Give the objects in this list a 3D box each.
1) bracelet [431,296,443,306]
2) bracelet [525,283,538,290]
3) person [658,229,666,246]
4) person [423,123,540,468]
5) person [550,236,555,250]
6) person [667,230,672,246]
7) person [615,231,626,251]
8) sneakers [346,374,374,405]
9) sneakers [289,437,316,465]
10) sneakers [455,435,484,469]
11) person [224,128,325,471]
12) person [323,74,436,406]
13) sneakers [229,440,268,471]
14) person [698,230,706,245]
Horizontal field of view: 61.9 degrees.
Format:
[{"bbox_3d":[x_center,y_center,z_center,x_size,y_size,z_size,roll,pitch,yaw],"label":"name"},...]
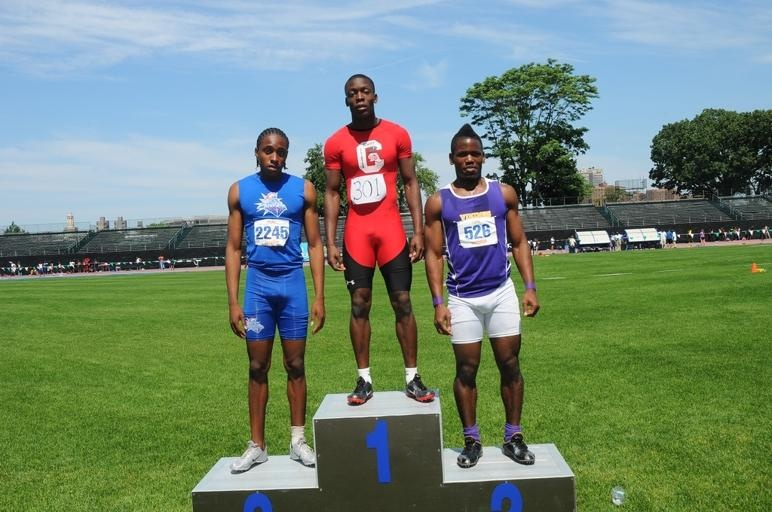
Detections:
[{"bbox_3d":[0.582,0.511,7.307,0.111,0.080,0.110,-3,4,0],"label":"bracelet"},{"bbox_3d":[1.665,0.349,7.372,0.094,0.068,0.092,-1,-5,0],"label":"bracelet"},{"bbox_3d":[20.469,-1.203,47.647,0.310,1.067,1.348,-2,3,17],"label":"person"},{"bbox_3d":[1.062,0.369,7.167,1.222,3.687,0.848,-3,3,3],"label":"person"},{"bbox_3d":[13.267,-0.976,51.258,0.379,0.940,1.546,-2,3,14],"label":"person"},{"bbox_3d":[22.061,-1.362,50.009,0.373,0.974,1.607,-2,3,24],"label":"person"},{"bbox_3d":[17.872,-1.042,49.107,0.633,1.104,1.797,-1,3,39],"label":"person"},{"bbox_3d":[-0.311,1.514,7.251,0.266,0.231,0.441,-2,3,11],"label":"sneakers"},{"bbox_3d":[-0.895,2.178,7.141,0.228,0.247,0.409,-4,3,-28],"label":"sneakers"},{"bbox_3d":[0.907,2.110,6.973,0.221,0.265,0.365,-2,3,23],"label":"sneakers"},{"bbox_3d":[-1.260,0.487,7.439,1.146,3.886,0.867,-3,3,-10],"label":"person"},{"bbox_3d":[-0.142,-0.256,7.662,1.201,3.784,1.099,-3,3,1],"label":"person"},{"bbox_3d":[-1.494,2.195,7.092,0.153,0.270,0.463,-1,3,39],"label":"sneakers"},{"bbox_3d":[24.811,-1.416,50.564,0.322,1.199,0.696,-9,16,-36],"label":"person"}]
